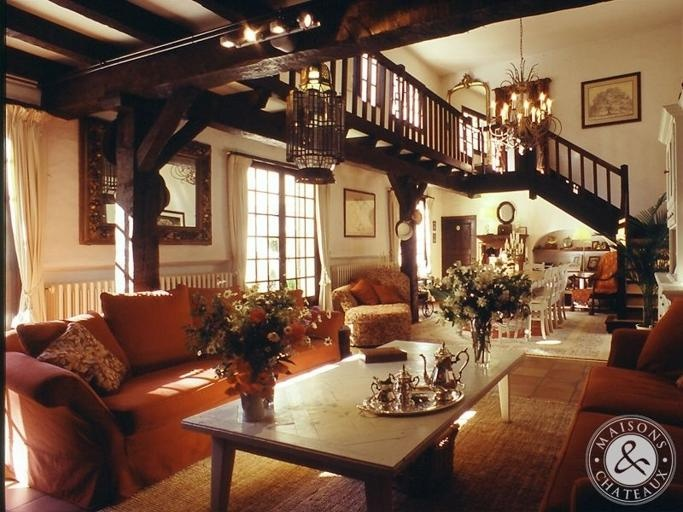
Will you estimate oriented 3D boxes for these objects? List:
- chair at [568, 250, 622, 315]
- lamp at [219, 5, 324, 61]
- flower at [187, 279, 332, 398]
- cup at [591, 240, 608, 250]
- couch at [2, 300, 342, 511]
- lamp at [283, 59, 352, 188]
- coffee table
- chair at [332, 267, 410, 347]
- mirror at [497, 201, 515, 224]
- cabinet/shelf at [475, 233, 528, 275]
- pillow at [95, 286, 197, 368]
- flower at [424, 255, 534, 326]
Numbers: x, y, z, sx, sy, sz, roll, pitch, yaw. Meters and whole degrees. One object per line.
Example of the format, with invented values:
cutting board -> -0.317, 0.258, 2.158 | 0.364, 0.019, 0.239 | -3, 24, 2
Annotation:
chair -> 4.548, 0.428, 9.885 | 0.705, 1.032, 0.723 | -1, 0, -8
lamp -> -0.552, -1.662, 4.159 | 0.832, 0.262, 0.155 | 1, 10, 22
flower -> -0.560, 0.583, 3.773 | 0.999, 0.691, 1.083 | -8, -8, 13
cup -> 5.279, -0.214, 11.318 | 0.205, 0.220, 0.409 | -8, 11, -32
couch -> -1.193, 1.074, 3.787 | 0.568, 0.628, 1.511 | -3, -1, 28
lamp -> -0.209, -1.142, 4.610 | 0.461, 1.047, 1.127 | -3, 9, 0
coffee table -> 0.158, 1.176, 3.890 | 1.379, 0.628, 1.989 | 4, 11, 35
chair -> 0.578, 0.746, 8.371 | 1.259, 1.208, 1.493 | -3, -5, 3
mirror -> 3.637, -0.986, 12.229 | 0.060, 0.578, 0.468 | -2, 4, -41
cabinet/shelf -> 3.201, 0.019, 11.130 | 0.934, 0.893, 0.603 | -6, -33, 15
pillow -> -1.616, 0.612, 4.593 | 0.238, 0.496, 0.625 | -13, -4, 37
flower -> 1.096, 0.273, 4.474 | 0.591, 0.423, 0.566 | -3, 3, 6
